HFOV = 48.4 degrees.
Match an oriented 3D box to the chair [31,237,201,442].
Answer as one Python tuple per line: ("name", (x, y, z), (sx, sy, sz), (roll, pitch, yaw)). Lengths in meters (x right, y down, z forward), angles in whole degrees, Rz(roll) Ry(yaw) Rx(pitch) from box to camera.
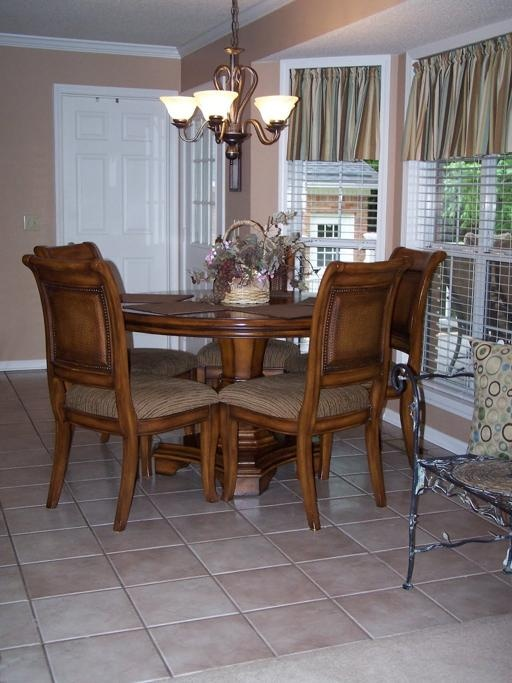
("chair", (-0.687, 0.024, 2.828), (0.635, 0.869, 0.668), (3, 12, 14))

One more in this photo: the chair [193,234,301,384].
("chair", (-0.019, -0.156, 3.205), (0.685, 1.065, 0.626), (1, 6, -1))

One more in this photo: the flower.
("flower", (-0.023, -0.434, 2.589), (0.499, 0.338, 0.414), (-3, 28, 26))

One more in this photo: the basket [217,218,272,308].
("basket", (-0.043, -0.381, 2.523), (0.207, 0.326, 0.194), (-5, -8, 13))
